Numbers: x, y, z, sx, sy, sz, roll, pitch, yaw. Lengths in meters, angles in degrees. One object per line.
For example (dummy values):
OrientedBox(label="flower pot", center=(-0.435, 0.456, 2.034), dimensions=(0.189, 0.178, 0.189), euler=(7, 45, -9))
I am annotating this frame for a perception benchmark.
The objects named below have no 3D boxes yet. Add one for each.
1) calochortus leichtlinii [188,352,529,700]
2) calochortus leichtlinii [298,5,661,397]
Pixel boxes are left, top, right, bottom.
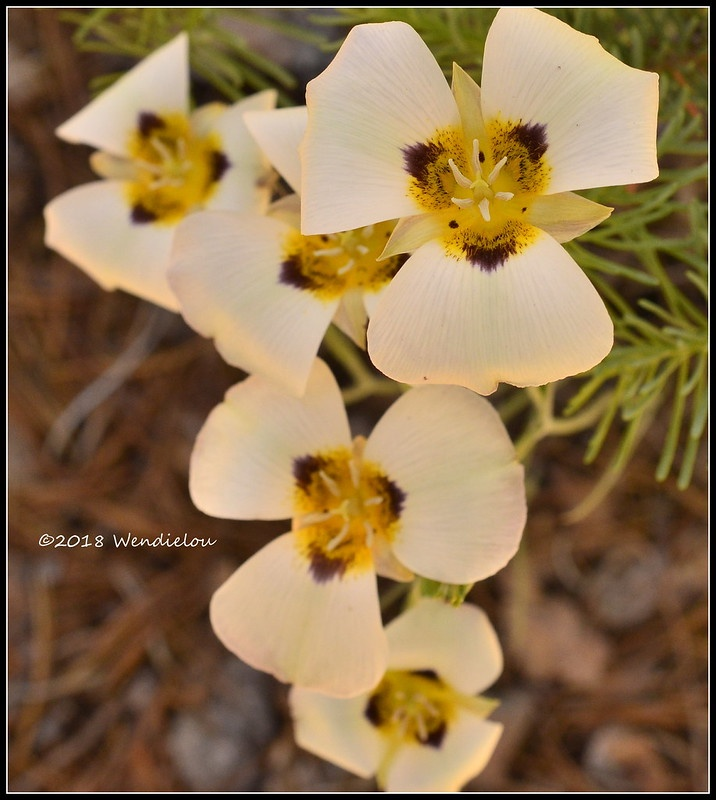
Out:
OrientedBox(label="calochortus leichtlinii", center=(0.039, 0.129, 0.978), dimensions=(0.428, 0.122, 0.351), euler=(19, 99, 23))
OrientedBox(label="calochortus leichtlinii", center=(0.120, -0.193, 0.786), dimensions=(0.349, 0.137, 0.362), euler=(-8, 72, -4))
